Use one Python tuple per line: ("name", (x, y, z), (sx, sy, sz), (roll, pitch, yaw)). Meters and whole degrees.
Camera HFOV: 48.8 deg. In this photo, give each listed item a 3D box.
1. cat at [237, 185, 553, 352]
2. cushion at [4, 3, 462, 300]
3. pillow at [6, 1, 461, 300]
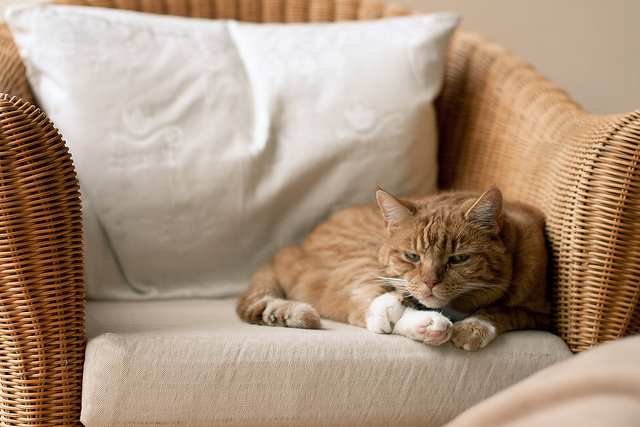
("cat", (0.286, 0.160, 2.480), (1.079, 0.508, 0.634), (7, 51, 6))
("cushion", (-0.348, -0.211, 2.588), (1.080, 0.245, 0.751), (-2, 93, -10))
("pillow", (-0.343, -0.213, 2.591), (1.082, 0.255, 0.755), (-2, 94, -10))
